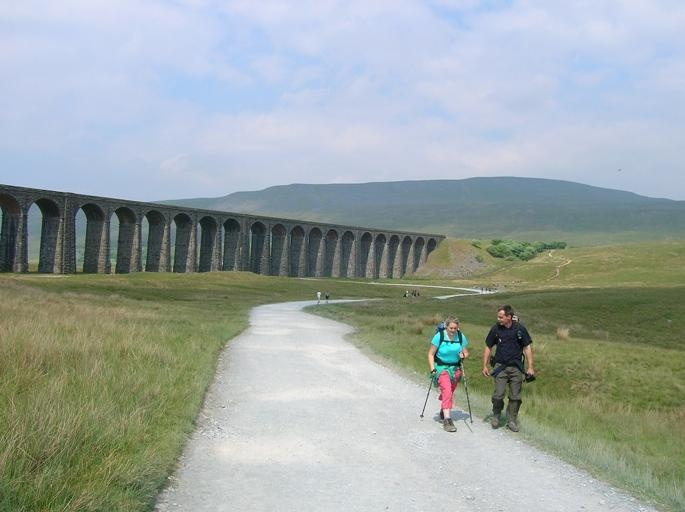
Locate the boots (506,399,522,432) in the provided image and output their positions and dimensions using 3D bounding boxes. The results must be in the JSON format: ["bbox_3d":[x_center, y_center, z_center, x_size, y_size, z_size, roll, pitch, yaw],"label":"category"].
[{"bbox_3d":[3.955,3.672,13.509,0.288,0.656,0.428,1,2,16],"label":"boots"}]

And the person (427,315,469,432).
[{"bbox_3d":[2.406,2.648,13.474,0.819,2.437,1.000,1,2,13],"label":"person"}]
